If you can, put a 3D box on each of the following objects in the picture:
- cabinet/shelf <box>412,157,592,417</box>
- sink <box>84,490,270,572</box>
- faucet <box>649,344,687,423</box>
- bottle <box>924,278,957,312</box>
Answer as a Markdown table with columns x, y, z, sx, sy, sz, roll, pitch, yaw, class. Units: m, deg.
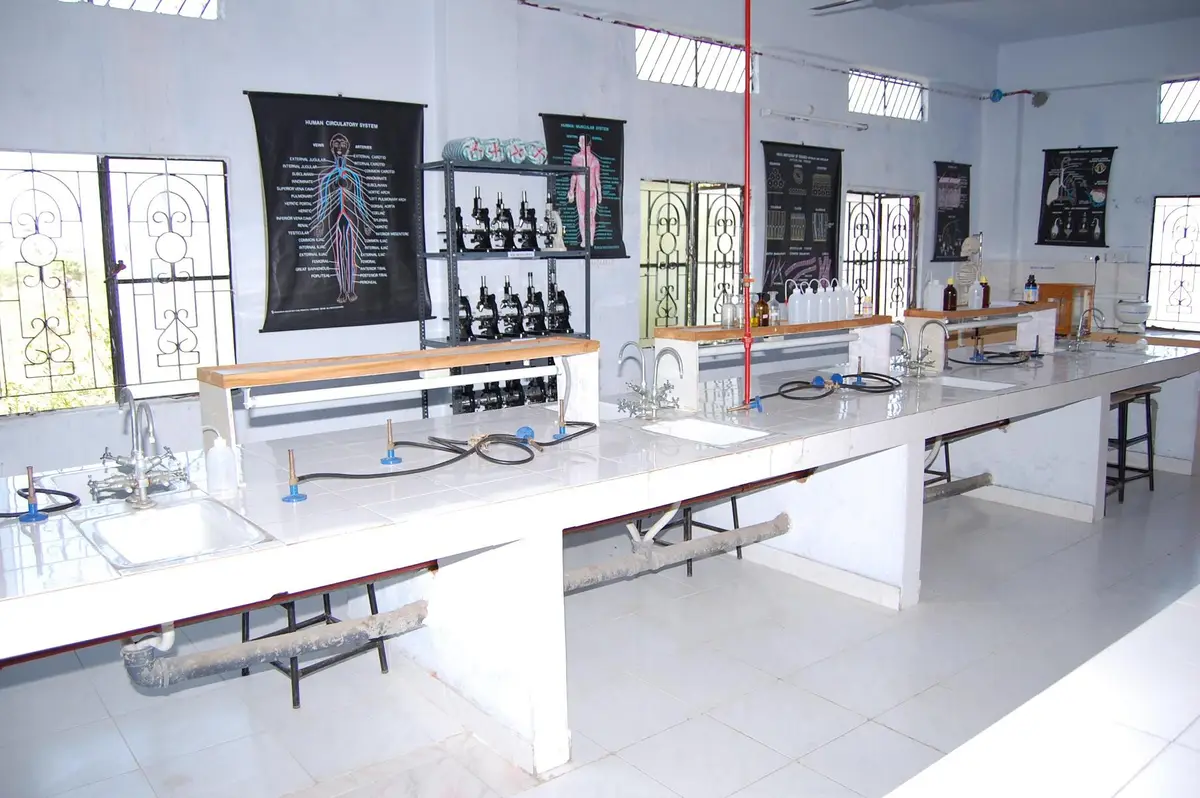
| x | y | z | sx | sy | sz | roll | pitch | yaw | class |
| --- | --- | --- | --- | --- | --- | --- | --- | --- | --- |
| -0.644 | -0.748 | 5.304 | 1.062 | 1.576 | 0.473 | 11 | 27 | 1 | cabinet/shelf |
| -1.493 | 0.515 | 2.827 | 0.466 | 0.197 | 0.617 | -13 | 16 | -41 | sink |
| 0.359 | -0.104 | 4.237 | 0.157 | 0.321 | 0.280 | -1 | 13 | 5 | faucet |
| 2.227 | -0.689 | 5.280 | 0.184 | 0.200 | 0.349 | 3 | 13 | 24 | bottle |
